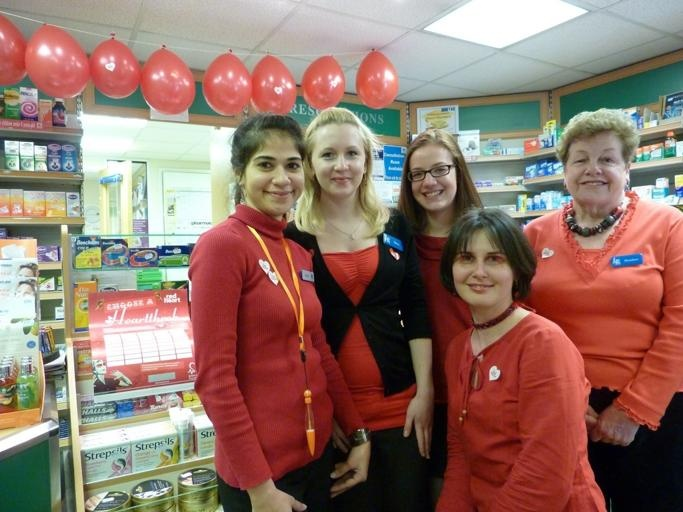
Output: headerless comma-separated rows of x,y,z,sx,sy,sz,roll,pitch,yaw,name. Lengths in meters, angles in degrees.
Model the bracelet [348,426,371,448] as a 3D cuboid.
0.075,0.710,1.871,0.083,0.052,0.080,-16,-16,-6,bracelet
